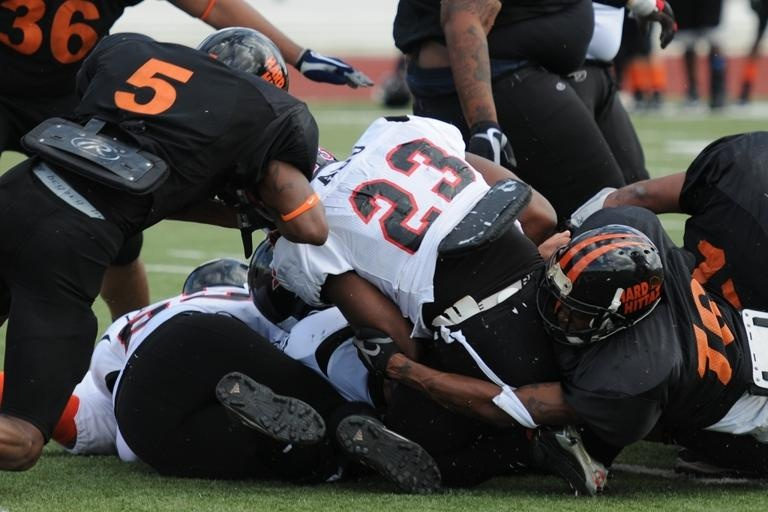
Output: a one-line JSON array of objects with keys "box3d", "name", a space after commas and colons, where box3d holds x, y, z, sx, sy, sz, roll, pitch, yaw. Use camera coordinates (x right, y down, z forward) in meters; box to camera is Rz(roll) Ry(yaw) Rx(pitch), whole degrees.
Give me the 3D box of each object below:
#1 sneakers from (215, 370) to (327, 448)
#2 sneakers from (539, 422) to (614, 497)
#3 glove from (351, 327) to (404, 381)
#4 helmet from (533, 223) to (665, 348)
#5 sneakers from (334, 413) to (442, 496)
[{"box3d": [-0.445, 0.597, 3.620, 0.471, 0.204, 0.118, 21, -2, -11], "name": "sneakers"}, {"box3d": [0.714, 0.753, 3.598, 0.369, 0.155, 0.168, 36, 22, -2], "name": "sneakers"}, {"box3d": [-0.035, 0.367, 3.588, 0.191, 0.182, 0.082, 8, 27, 21], "name": "glove"}, {"box3d": [0.770, 0.107, 3.555, 0.478, 0.368, 0.354, -14, -1, 1], "name": "helmet"}, {"box3d": [0.036, 0.748, 3.649, 0.529, 0.191, 0.223, 22, 5, 4], "name": "sneakers"}]
